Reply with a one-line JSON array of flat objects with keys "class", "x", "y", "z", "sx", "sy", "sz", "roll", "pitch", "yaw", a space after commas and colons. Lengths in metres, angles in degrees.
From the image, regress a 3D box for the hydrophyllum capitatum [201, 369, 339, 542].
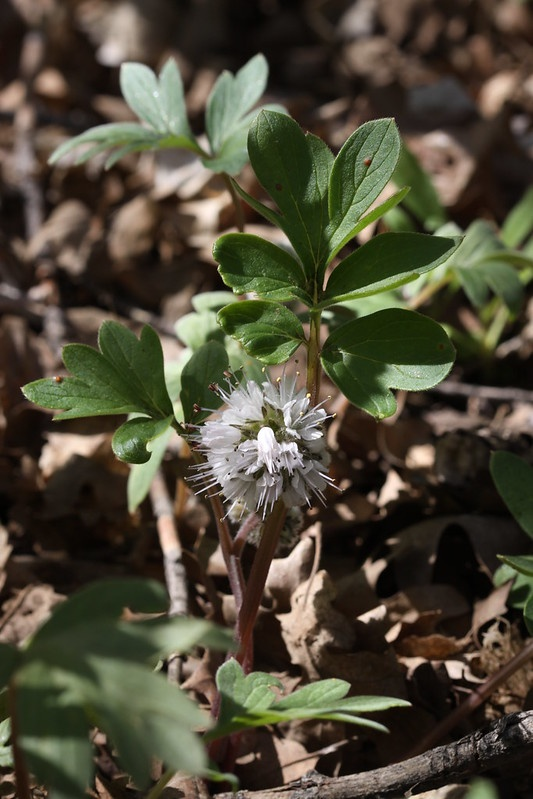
[{"class": "hydrophyllum capitatum", "x": 0.035, "y": 0.088, "z": 1.783, "sx": 0.264, "sy": 0.247, "sz": 0.221, "roll": 24, "pitch": 24, "yaw": 16}]
